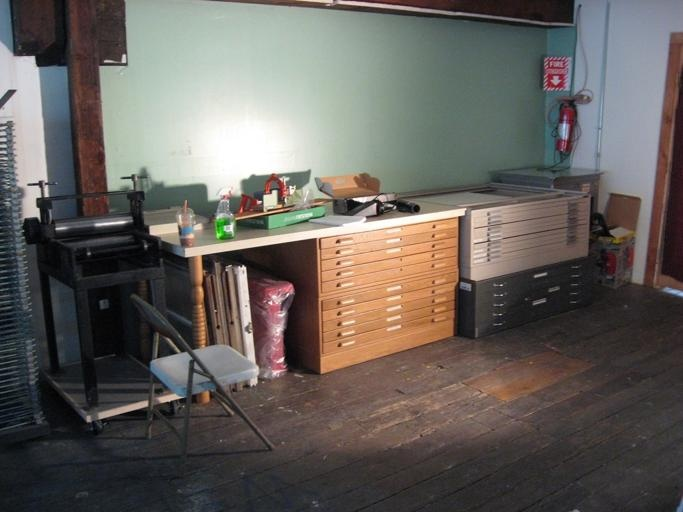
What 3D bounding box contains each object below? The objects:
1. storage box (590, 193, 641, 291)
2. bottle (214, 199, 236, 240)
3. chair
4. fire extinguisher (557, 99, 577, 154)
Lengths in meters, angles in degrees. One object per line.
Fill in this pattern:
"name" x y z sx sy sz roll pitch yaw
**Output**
"storage box" 2.930 -0.165 6.306 0.666 0.848 0.552 -17 22 -27
"bottle" -0.833 -0.264 4.000 0.139 0.250 0.280 -8 17 -12
"chair" -0.848 0.684 3.451 0.682 0.862 0.753 11 12 39
"fire extinguisher" 2.534 -1.438 6.417 0.210 0.623 0.323 2 18 20
